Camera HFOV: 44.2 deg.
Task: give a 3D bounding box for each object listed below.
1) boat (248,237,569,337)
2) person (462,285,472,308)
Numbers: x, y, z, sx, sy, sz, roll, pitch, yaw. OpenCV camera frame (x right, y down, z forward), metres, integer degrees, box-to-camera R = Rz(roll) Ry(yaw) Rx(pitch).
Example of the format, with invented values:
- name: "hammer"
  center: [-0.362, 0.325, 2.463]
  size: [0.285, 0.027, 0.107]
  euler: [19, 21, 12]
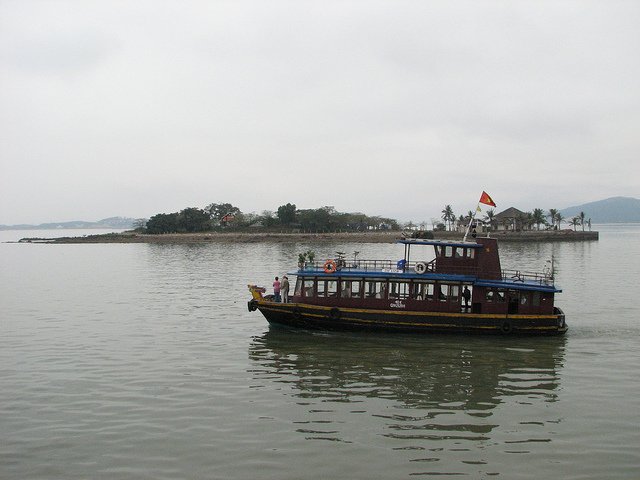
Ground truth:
- name: "boat"
  center: [5.755, 2.640, 45.135]
  size: [15.958, 5.657, 1.553]
  euler: [0, -1, 5]
- name: "person"
  center: [8.397, 3.212, 44.769]
  size: [0.420, 1.217, 0.256]
  euler: [0, -1, 7]
